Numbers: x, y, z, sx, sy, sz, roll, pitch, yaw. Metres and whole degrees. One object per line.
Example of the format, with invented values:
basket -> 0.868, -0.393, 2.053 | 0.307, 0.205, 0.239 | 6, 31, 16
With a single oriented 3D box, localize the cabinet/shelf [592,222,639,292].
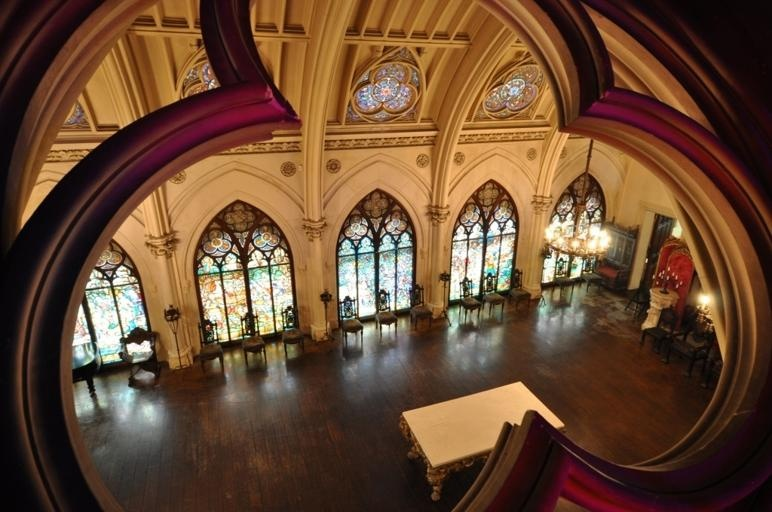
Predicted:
cabinet/shelf -> 7.078, 0.043, 14.718 | 0.612, 1.821, 1.382 | -11, 33, -16

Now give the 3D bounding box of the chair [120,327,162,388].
chair -> -5.794, 2.339, 11.275 | 0.729, 1.122, 0.643 | -8, 15, -17
